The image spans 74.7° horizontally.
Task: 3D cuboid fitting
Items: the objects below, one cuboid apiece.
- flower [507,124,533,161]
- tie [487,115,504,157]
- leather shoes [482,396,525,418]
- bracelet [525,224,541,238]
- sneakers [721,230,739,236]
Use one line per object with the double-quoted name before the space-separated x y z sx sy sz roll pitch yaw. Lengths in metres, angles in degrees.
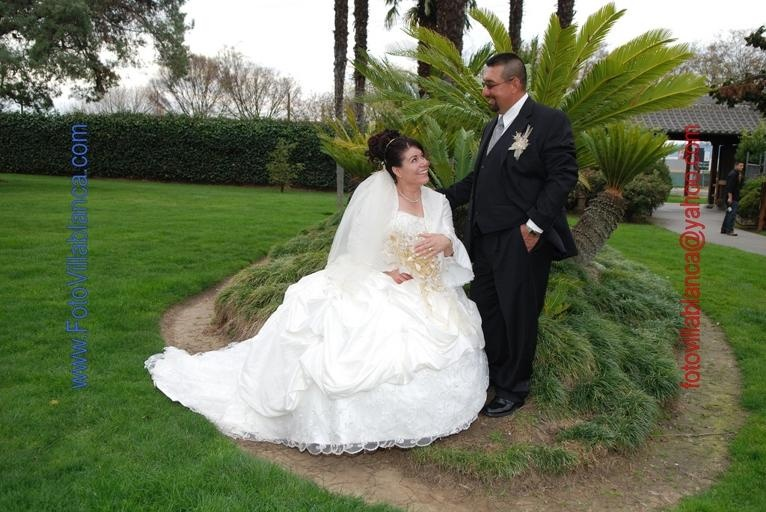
"flower" 1.311 -1.082 4.764 0.212 0.293 0.119 25 5 18
"tie" 1.136 -1.200 5.028 0.116 0.440 0.022 5 -23 39
"leather shoes" 1.206 1.487 5.030 0.335 0.124 0.190 1 -3 -35
"bracelet" 1.405 -0.234 4.665 0.107 0.048 0.120 28 1 -14
"sneakers" 9.955 -0.635 14.248 0.488 0.215 0.179 0 3 -8
